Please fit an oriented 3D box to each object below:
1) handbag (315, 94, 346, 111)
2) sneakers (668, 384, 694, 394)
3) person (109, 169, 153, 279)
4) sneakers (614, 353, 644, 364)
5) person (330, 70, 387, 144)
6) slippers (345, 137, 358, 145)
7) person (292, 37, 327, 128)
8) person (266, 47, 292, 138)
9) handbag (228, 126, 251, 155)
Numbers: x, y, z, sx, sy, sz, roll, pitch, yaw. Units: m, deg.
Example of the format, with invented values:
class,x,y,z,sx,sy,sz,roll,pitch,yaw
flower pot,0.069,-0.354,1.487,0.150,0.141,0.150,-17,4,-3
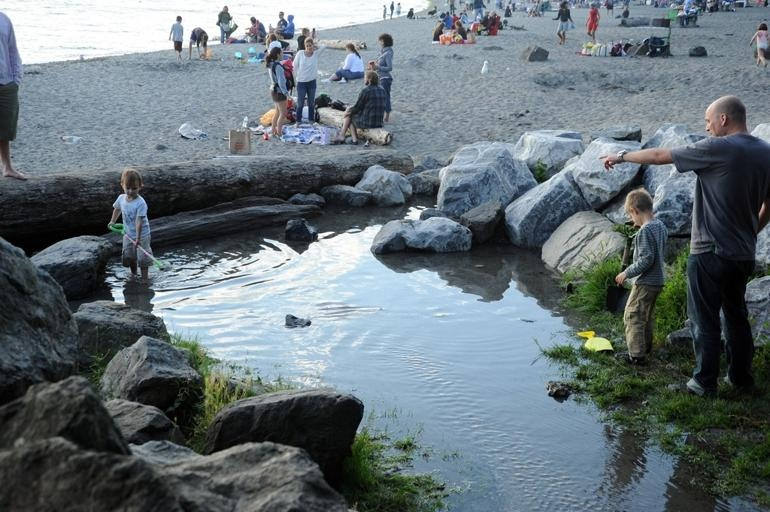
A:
class,x,y,z,sx,sy,sz,roll,pitch,yaw
handbag,-1.378,-3.797,18.113,0.699,0.250,0.510,5,6,-2
sneakers,3.030,1.383,7.523,0.146,0.043,0.086,3,15,12
person,-3.466,-0.445,10.011,0.654,1.455,0.363,12,19,38
sneakers,2.703,1.154,8.107,0.299,0.121,0.107,17,34,35
person,-0.432,-3.297,16.191,1.151,1.606,0.493,8,17,27
slippers,-0.789,-2.614,16.576,0.368,0.133,0.148,14,3,39
person,-1.849,-4.012,16.765,0.486,1.950,1.149,-1,15,-7
person,-2.423,-3.653,16.271,0.459,1.946,1.054,-2,15,-9
handbag,-3.081,-2.381,15.105,0.559,0.493,0.535,-3,10,-15
